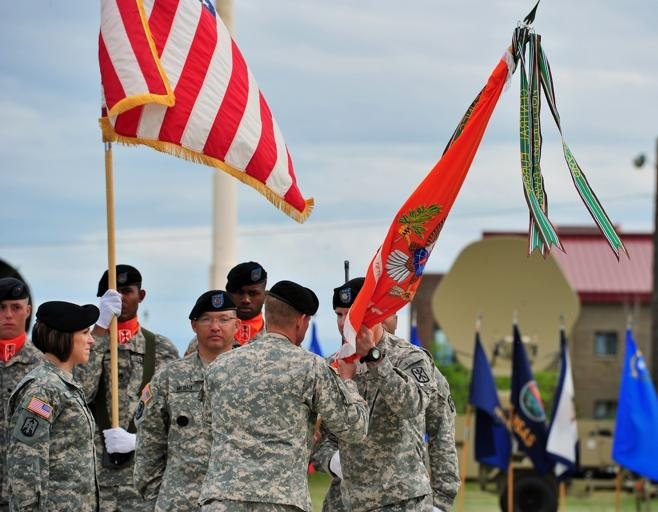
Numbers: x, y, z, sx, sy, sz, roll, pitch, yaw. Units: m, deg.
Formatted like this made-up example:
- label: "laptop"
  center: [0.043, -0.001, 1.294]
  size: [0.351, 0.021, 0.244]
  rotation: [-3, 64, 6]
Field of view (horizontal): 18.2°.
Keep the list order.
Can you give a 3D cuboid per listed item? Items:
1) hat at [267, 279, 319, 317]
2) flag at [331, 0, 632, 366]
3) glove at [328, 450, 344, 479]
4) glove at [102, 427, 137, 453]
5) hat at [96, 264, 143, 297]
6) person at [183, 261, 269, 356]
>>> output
- label: "hat"
  center: [-0.369, 0.395, 19.023]
  size: [0.460, 0.175, 0.392]
  rotation: [27, 2, 2]
- label: "flag"
  center: [1.248, -0.716, 20.151]
  size: [2.117, 3.422, 0.411]
  rotation: [-3, -10, 19]
- label: "glove"
  center: [0.065, 2.119, 20.765]
  size: [0.186, 0.176, 0.251]
  rotation: [-2, -29, -2]
- label: "glove"
  center: [-2.186, 1.931, 21.520]
  size: [0.320, 0.257, 0.150]
  rotation: [17, 4, -4]
- label: "hat"
  center: [-2.216, 0.179, 22.302]
  size: [0.414, 0.222, 0.563]
  rotation: [-11, 16, -3]
- label: "person"
  center: [-0.884, 0.575, 22.500]
  size: [1.223, 1.084, 0.642]
  rotation: [6, 10, 4]
